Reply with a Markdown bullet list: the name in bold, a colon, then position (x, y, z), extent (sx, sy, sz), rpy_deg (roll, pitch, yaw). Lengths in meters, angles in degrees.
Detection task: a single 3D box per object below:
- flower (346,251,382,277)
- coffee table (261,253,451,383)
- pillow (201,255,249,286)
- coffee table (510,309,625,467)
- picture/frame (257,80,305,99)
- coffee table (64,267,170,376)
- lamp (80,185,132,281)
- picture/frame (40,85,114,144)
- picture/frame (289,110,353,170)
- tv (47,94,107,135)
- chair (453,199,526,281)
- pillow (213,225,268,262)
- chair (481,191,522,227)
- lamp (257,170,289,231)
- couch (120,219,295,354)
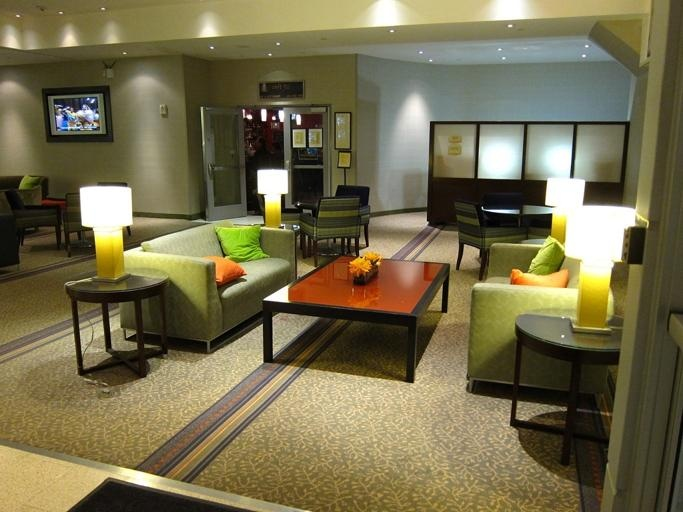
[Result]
- **flower**: position (0.212, 0.075, 4.461), extent (0.178, 0.134, 0.300), rpy_deg (3, 8, 18)
- **coffee table**: position (0.217, 0.478, 4.465), extent (1.255, 0.515, 1.709), rpy_deg (6, 15, 19)
- **pillow**: position (-1.043, 0.135, 4.436), extent (0.279, 0.125, 0.284), rpy_deg (15, 15, 35)
- **coffee table**: position (1.287, 0.762, 3.127), extent (0.711, 0.661, 0.788), rpy_deg (4, 13, 15)
- **picture/frame**: position (-1.277, -3.562, 10.411), extent (1.042, 0.361, 0.054), rpy_deg (4, 15, 12)
- **coffee table**: position (-1.749, 0.552, 3.897), extent (0.760, 0.703, 0.724), rpy_deg (-3, 7, -26)
- **lamp**: position (-1.791, -0.180, 3.775), extent (0.362, 0.714, 0.339), rpy_deg (-7, 17, -26)
- **picture/frame**: position (-5.766, -3.178, 10.759), extent (1.413, 1.015, 0.065), rpy_deg (3, 15, 13)
- **picture/frame**: position (-0.393, -2.536, 10.404), extent (1.299, 1.091, 0.092), rpy_deg (3, 11, 20)
- **tv**: position (-5.854, -3.153, 10.775), extent (0.039, 0.882, 1.291), rpy_deg (20, 24, 23)
- **chair**: position (2.028, -0.258, 6.671), extent (0.933, 0.915, 0.852), rpy_deg (0, 13, 5)
- **pillow**: position (-1.091, -0.128, 5.171), extent (0.360, 0.276, 0.169), rpy_deg (-16, 16, -42)
- **chair**: position (2.522, -0.822, 7.591), extent (0.700, 0.631, 0.736), rpy_deg (1, 9, 23)
- **lamp**: position (-0.832, -0.740, 6.284), extent (0.442, 0.733, 0.432), rpy_deg (5, 7, -22)
- **couch**: position (-1.204, 0.152, 4.913), extent (0.982, 0.824, 1.762), rpy_deg (6, 14, 21)
